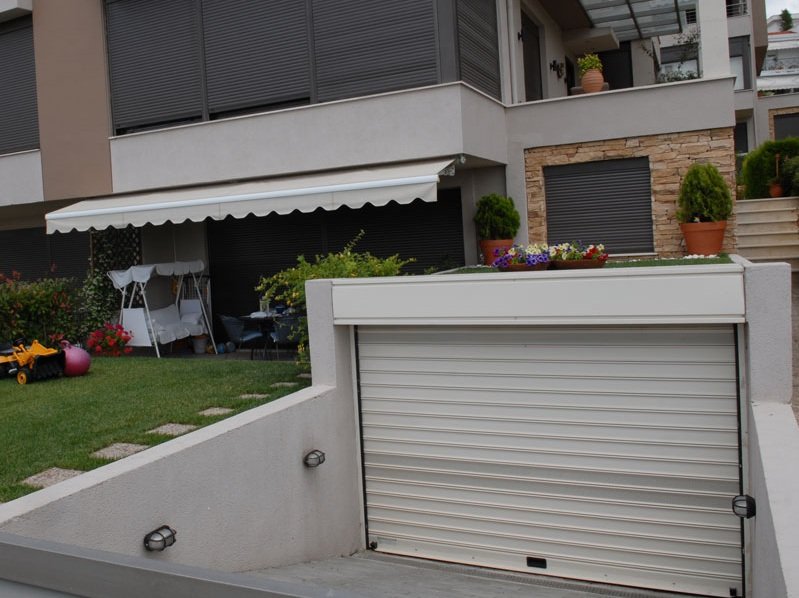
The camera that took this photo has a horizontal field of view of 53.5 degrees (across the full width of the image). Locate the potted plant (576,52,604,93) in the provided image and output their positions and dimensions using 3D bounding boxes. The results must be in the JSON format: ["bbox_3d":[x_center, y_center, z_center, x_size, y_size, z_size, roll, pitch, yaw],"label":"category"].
[{"bbox_3d":[4.858,-5.663,20.284,0.606,0.980,0.642,-8,10,3],"label":"potted plant"}]

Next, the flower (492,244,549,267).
[{"bbox_3d":[2.134,-0.719,13.737,0.952,0.456,0.693,4,-3,10],"label":"flower"}]

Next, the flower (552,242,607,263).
[{"bbox_3d":[3.280,-0.829,14.524,0.574,0.273,0.613,0,-4,1],"label":"flower"}]

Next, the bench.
[{"bbox_3d":[-5.979,0.278,19.950,1.017,2.272,2.431,-4,3,22],"label":"bench"}]

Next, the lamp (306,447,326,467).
[{"bbox_3d":[-1.336,2.485,12.383,0.221,0.133,0.282,-10,1,-44],"label":"lamp"}]

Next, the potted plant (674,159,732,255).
[{"bbox_3d":[6.538,-1.877,17.120,1.090,1.961,0.637,3,-3,22],"label":"potted plant"}]

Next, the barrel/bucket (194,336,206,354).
[{"bbox_3d":[-5.242,1.205,20.603,0.397,0.453,0.241,0,-2,-5],"label":"barrel/bucket"}]

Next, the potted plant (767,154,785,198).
[{"bbox_3d":[10.444,-3.377,21.978,0.401,1.318,0.774,2,-3,25],"label":"potted plant"}]

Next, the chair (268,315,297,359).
[{"bbox_3d":[-2.409,0.810,16.918,0.620,0.859,0.594,0,5,-36],"label":"chair"}]
